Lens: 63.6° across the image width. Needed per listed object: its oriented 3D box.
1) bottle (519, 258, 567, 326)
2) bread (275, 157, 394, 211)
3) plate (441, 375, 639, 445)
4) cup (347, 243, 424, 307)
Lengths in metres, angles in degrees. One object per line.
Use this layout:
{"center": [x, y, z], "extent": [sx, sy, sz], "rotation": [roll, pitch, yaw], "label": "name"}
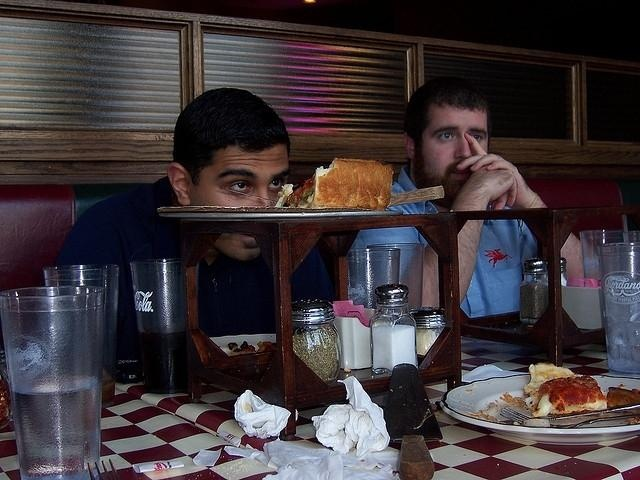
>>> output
{"center": [0.571, 0.138, 1.357], "extent": [0.065, 0.178, 0.187], "rotation": [-3, -3, 8], "label": "bottle"}
{"center": [0.049, -0.106, 1.090], "extent": [0.167, 0.059, 0.165], "rotation": [-5, -2, -40], "label": "bread"}
{"center": [0.331, 0.286, 0.849], "extent": [0.251, 0.045, 0.283], "rotation": [-1, -2, -16], "label": "plate"}
{"center": [0.162, 0.076, 1.222], "extent": [0.178, 0.157, 0.167], "rotation": [-1, -1, 0], "label": "cup"}
